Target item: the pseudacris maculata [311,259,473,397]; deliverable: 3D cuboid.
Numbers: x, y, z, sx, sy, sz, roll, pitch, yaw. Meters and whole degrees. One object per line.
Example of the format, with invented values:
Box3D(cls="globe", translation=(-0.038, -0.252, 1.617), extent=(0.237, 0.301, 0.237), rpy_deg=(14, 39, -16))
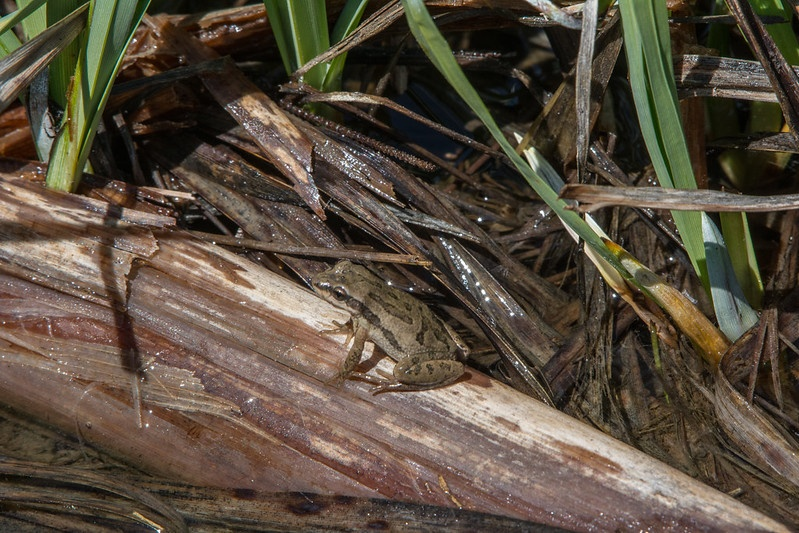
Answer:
Box3D(cls="pseudacris maculata", translation=(-0.071, 0.421, 5.171), extent=(0.464, 1.737, 0.855), rpy_deg=(-1, 92, -23))
